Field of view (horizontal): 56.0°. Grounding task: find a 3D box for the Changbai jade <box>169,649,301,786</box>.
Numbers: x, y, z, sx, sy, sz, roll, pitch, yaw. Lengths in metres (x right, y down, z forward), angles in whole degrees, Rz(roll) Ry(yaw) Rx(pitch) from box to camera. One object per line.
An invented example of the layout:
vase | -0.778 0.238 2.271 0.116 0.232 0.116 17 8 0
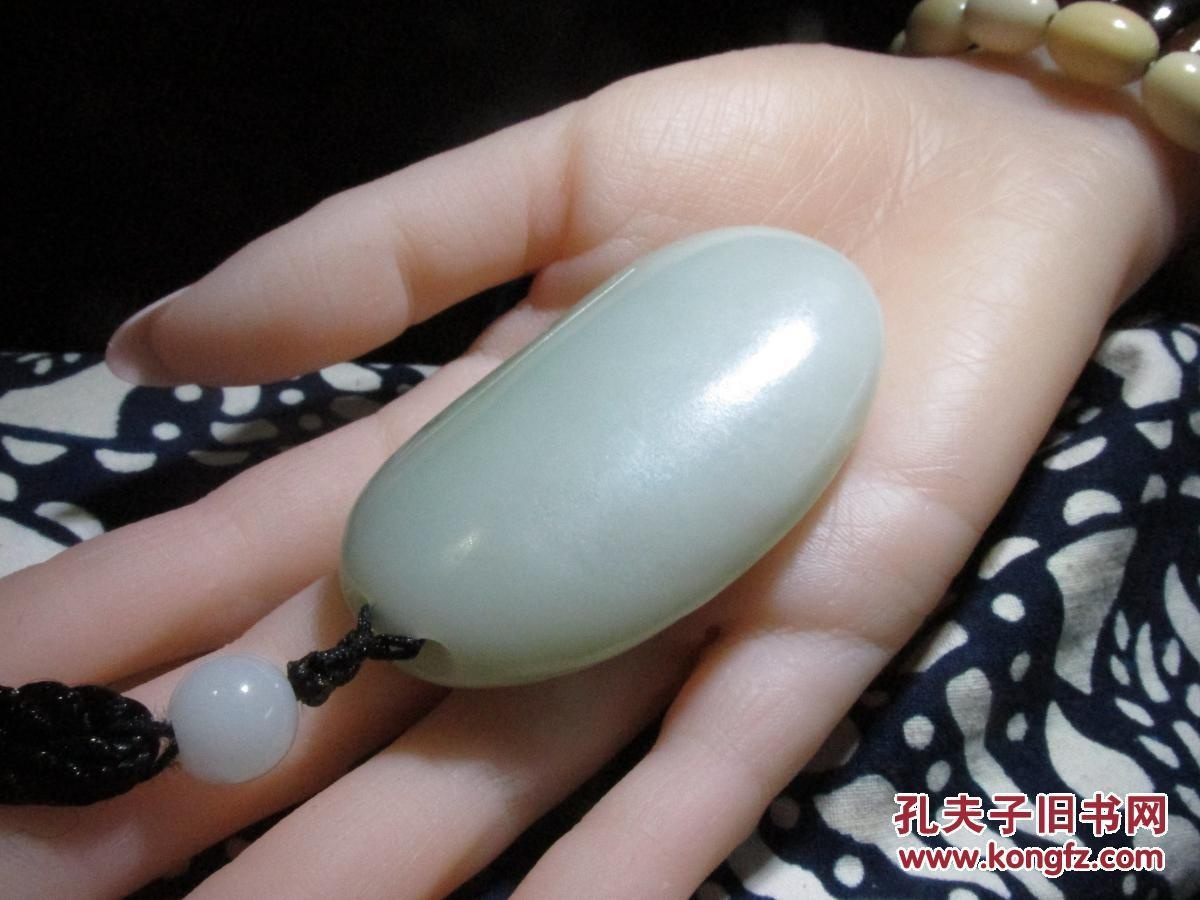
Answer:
Changbai jade | -0.272 0.198 0.835 0.094 0.052 0.076 -14 60 -13
